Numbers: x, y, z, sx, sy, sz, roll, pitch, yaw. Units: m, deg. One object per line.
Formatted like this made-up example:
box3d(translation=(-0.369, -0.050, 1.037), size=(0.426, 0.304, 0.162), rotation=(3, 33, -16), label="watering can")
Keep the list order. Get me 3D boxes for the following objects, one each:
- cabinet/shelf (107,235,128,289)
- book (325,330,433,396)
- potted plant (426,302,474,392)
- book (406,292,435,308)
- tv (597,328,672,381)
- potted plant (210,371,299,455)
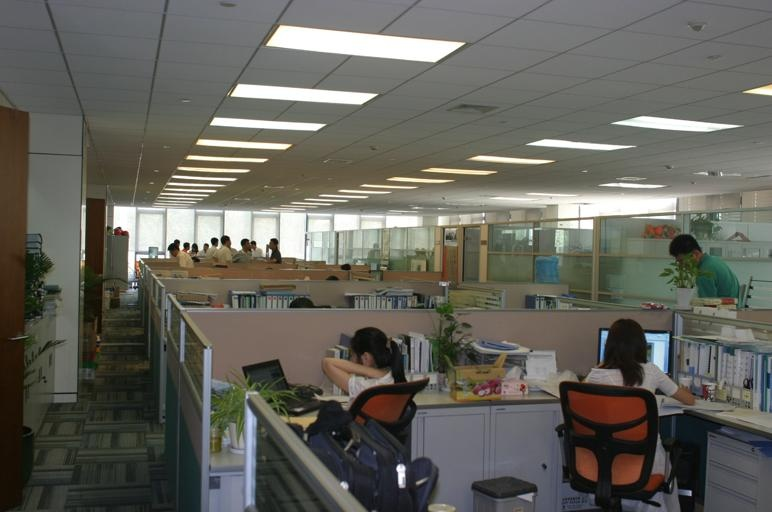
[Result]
box3d(translation=(-7.755, 0.087, 16.558), size=(0.614, 1.568, 1.661), rotation=(0, 1, -15), label="cabinet/shelf")
box3d(translation=(-0.055, 0.870, 4.854), size=(0.653, 0.774, 0.586), rotation=(1, 7, -44), label="book")
box3d(translation=(0.604, 0.803, 5.310), size=(0.390, 0.713, 0.704), rotation=(-2, 1, 8), label="potted plant")
box3d(translation=(0.540, 0.695, 8.800), size=(0.358, 0.193, 0.343), rotation=(7, 4, 18), label="book")
box3d(translation=(2.438, 0.836, 5.741), size=(0.747, 0.663, 0.540), rotation=(1, -4, 12), label="tv")
box3d(translation=(-0.803, 0.987, 3.799), size=(0.652, 0.440, 0.631), rotation=(3, 0, -10), label="potted plant")
